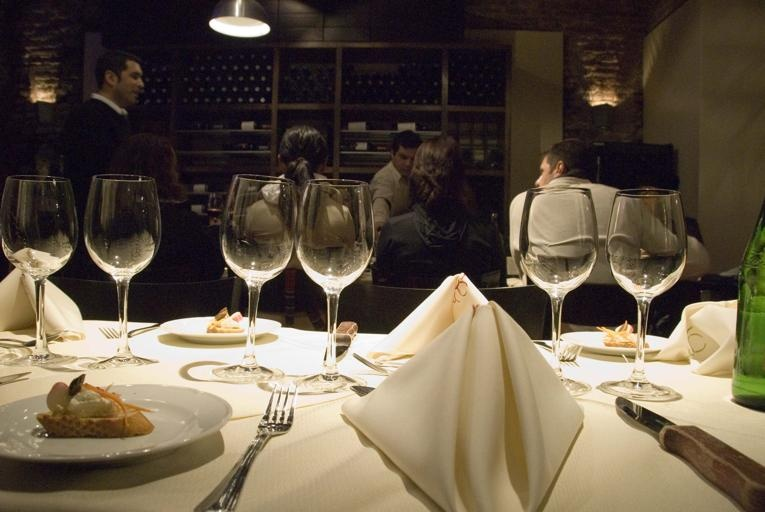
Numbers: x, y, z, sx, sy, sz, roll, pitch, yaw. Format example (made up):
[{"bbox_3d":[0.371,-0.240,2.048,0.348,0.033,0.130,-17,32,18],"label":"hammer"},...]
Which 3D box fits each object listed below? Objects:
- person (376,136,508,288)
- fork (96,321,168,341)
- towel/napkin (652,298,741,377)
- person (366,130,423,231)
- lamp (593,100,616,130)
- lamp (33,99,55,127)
[{"bbox_3d":[0.252,-0.227,3.011,0.504,0.717,0.702,5,6,28],"label":"person"},{"bbox_3d":[-0.602,0.183,1.532,0.191,0.031,0.032,-6,-21,2],"label":"fork"},{"bbox_3d":[0.673,0.175,1.377,0.153,0.063,0.141,-11,2,26],"label":"towel/napkin"},{"bbox_3d":[0.098,-0.591,4.931,0.249,0.978,0.909,9,29,15],"label":"person"},{"bbox_3d":[2.443,-1.519,6.981,0.396,0.267,0.194,-1,6,-37],"label":"lamp"},{"bbox_3d":[-3.993,-1.690,7.544,0.228,0.269,0.252,9,11,29],"label":"lamp"}]
